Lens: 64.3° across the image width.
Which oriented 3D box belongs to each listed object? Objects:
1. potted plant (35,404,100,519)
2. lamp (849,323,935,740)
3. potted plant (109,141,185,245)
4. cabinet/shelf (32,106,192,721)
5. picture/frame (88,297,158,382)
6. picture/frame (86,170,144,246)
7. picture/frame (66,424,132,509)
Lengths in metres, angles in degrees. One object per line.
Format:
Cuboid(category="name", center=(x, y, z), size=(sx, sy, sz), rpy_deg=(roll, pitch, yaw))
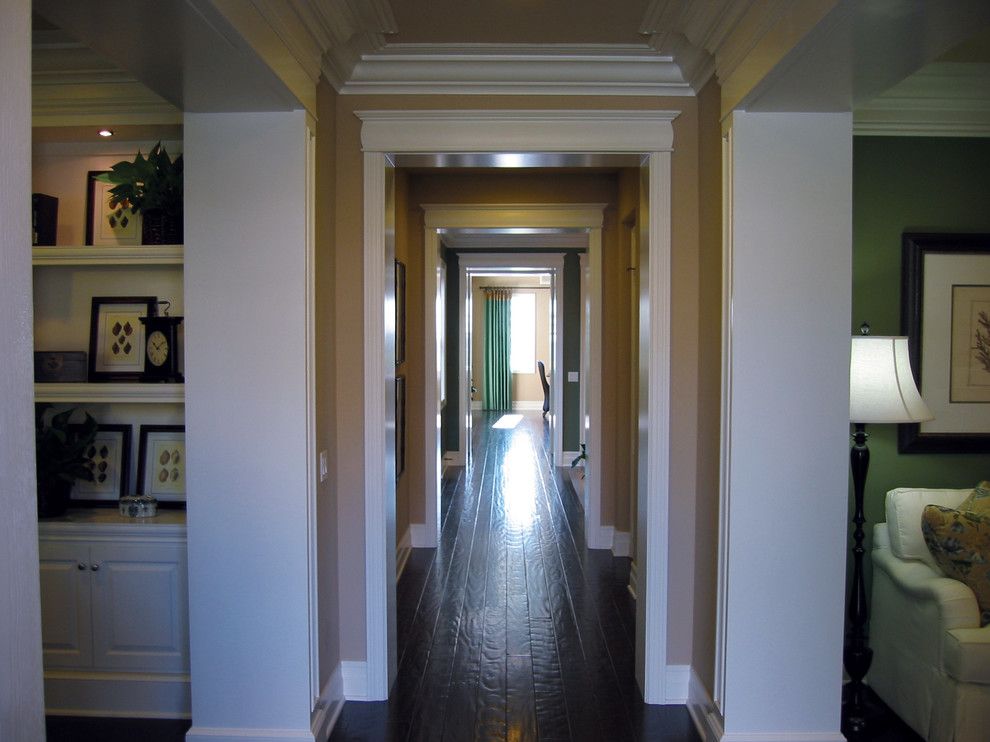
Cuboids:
Cuboid(category="potted plant", center=(-2.161, 0.454, 3.946), size=(0.282, 0.523, 0.370), rpy_deg=(2, -2, -29))
Cuboid(category="lamp", center=(1.830, 0.737, 3.704), size=(0.344, 1.948, 0.744), rpy_deg=(0, -2, 25))
Cuboid(category="potted plant", center=(-1.718, -0.837, 4.078), size=(0.457, 0.561, 0.490), rpy_deg=(-2, 1, -15))
Cuboid(category="cabinet/shelf", center=(-1.888, 0.273, 3.973), size=(1.131, 2.803, 0.594), rpy_deg=(3, 8, 1))
Cuboid(category="picture/frame", center=(-1.911, -0.144, 4.031), size=(0.349, 0.567, 0.040), rpy_deg=(0, 1, -1))
Cuboid(category="picture/frame", center=(-1.940, -0.826, 4.013), size=(0.333, 0.560, 0.034), rpy_deg=(1, 3, 7))
Cuboid(category="picture/frame", center=(-2.037, 0.483, 4.012), size=(0.290, 0.406, 0.035), rpy_deg=(2, 0, -11))
